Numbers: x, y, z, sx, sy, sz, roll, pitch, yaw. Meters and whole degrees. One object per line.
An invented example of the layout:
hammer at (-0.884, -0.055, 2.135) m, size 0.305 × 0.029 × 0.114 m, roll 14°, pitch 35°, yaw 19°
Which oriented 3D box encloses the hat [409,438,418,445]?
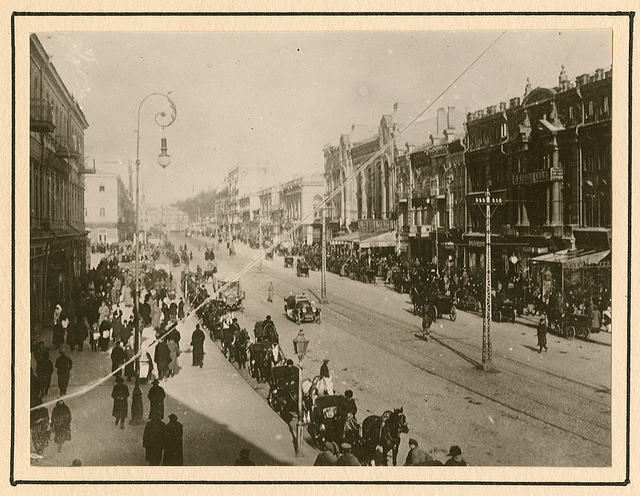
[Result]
hat at (1.695, 3.524, 12.282) m, size 0.134 × 0.136 × 0.201 m, roll -2°, pitch 3°, yaw 10°

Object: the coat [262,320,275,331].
coat at (-1.257, 1.847, 16.149) m, size 0.253 × 0.221 × 0.223 m, roll -2°, pitch 3°, yaw -3°

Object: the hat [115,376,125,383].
hat at (-4.154, 2.705, 13.943) m, size 0.128 × 0.101 × 0.288 m, roll -3°, pitch 3°, yaw -20°

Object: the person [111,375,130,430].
person at (-4.157, 3.177, 13.951) m, size 0.349 × 1.043 × 0.437 m, roll -3°, pitch 3°, yaw -20°

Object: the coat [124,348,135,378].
coat at (-4.174, 2.489, 14.713) m, size 0.218 × 0.552 × 0.547 m, roll -2°, pitch 3°, yaw -17°

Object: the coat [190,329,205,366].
coat at (-2.820, 2.272, 15.442) m, size 0.319 × 0.766 × 0.399 m, roll -2°, pitch 3°, yaw -12°

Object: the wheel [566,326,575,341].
wheel at (5.338, 1.800, 14.340) m, size 0.237 × 0.292 × 0.244 m, roll 8°, pitch 1°, yaw 0°

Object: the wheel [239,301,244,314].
wheel at (-1.926, 1.464, 16.492) m, size 0.054 × 0.209 × 0.129 m, roll -2°, pitch 6°, yaw 15°

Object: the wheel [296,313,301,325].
wheel at (-0.526, 1.732, 16.440) m, size 0.070 × 0.287 × 0.200 m, roll -3°, pitch 3°, yaw -30°

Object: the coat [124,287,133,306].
coat at (-4.667, 1.168, 16.322) m, size 0.066 × 0.452 × 0.271 m, roll -1°, pitch 3°, yaw 23°

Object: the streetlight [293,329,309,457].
streetlight at (-0.373, 2.741, 12.897) m, size 0.284 × 2.497 × 0.808 m, roll -2°, pitch 2°, yaw -6°

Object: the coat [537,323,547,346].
coat at (4.838, 1.877, 14.653) m, size 0.198 × 0.512 × 0.221 m, roll -1°, pitch 3°, yaw 10°

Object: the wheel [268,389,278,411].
wheel at (-1.012, 3.207, 14.320) m, size 0.091 × 0.438 × 0.351 m, roll -3°, pitch 3°, yaw -34°

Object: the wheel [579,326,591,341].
wheel at (5.539, 1.783, 14.082) m, size 0.027 × 0.308 × 0.240 m, roll -4°, pitch 3°, yaw -42°

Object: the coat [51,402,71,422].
coat at (-5.160, 3.333, 13.506) m, size 0.461 × 0.548 × 0.279 m, roll 2°, pitch -8°, yaw -23°

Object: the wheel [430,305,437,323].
wheel at (2.649, 1.530, 15.739) m, size 0.156 × 0.370 × 0.329 m, roll -1°, pitch 3°, yaw 12°

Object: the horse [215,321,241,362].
horse at (-2.187, 2.193, 15.926) m, size 0.380 × 0.571 × 0.805 m, roll 0°, pitch -9°, yaw -17°

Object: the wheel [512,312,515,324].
wheel at (4.502, 1.616, 15.687) m, size 0.045 × 0.240 × 0.149 m, roll -1°, pitch 3°, yaw 16°

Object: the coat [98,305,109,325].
coat at (-5.089, 1.516, 15.823) m, size 0.240 × 0.321 × 0.252 m, roll -3°, pitch 3°, yaw -21°

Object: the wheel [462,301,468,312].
wheel at (3.529, 1.401, 16.400) m, size 0.038 × 0.183 × 0.165 m, roll -2°, pitch -1°, yaw 34°

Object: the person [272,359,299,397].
person at (-0.737, 2.781, 14.271) m, size 0.429 × 0.345 × 0.916 m, roll -3°, pitch 36°, yaw 3°

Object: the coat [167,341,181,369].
coat at (-3.286, 2.375, 15.016) m, size 0.188 × 0.567 × 0.236 m, roll -2°, pitch 3°, yaw -5°

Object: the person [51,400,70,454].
person at (-5.195, 3.515, 13.504) m, size 0.441 × 1.264 × 0.237 m, roll 1°, pitch 13°, yaw -31°

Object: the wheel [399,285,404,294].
wheel at (2.146, 1.096, 17.879) m, size 0.142 × 0.040 × 0.158 m, roll 24°, pitch 46°, yaw 19°

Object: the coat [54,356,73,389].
coat at (-5.403, 2.611, 14.208) m, size 0.326 × 0.669 × 0.208 m, roll -3°, pitch 3°, yaw -25°

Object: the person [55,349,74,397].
person at (-5.426, 2.640, 14.265) m, size 0.314 × 0.940 × 0.316 m, roll -2°, pitch 3°, yaw -8°

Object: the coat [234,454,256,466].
coat at (-1.426, 4.032, 12.744) m, size 0.243 × 0.091 × 0.309 m, roll -1°, pitch -8°, yaw 12°

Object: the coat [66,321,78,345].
coat at (-5.442, 1.863, 14.759) m, size 0.241 × 0.505 × 0.197 m, roll -3°, pitch 3°, yaw -22°

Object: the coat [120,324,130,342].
coat at (-4.531, 1.973, 15.603) m, size 0.248 × 0.516 × 0.246 m, roll 4°, pitch -12°, yaw -16°

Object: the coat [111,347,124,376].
coat at (-4.414, 2.500, 14.705) m, size 0.269 × 0.623 × 0.466 m, roll -3°, pitch 3°, yaw -20°

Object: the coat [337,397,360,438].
coat at (0.568, 3.266, 12.957) m, size 0.343 × 1.075 × 0.253 m, roll -10°, pitch 7°, yaw -36°

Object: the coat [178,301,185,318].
coat at (-3.492, 1.536, 16.906) m, size 0.146 × 0.382 × 0.513 m, roll -2°, pitch 3°, yaw -11°

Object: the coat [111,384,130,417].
coat at (-4.120, 3.228, 13.868) m, size 0.412 × 0.902 × 0.244 m, roll 7°, pitch -41°, yaw -26°

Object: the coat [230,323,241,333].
coat at (-2.046, 1.899, 16.012) m, size 0.171 × 0.218 × 0.048 m, roll -4°, pitch -14°, yaw -6°
